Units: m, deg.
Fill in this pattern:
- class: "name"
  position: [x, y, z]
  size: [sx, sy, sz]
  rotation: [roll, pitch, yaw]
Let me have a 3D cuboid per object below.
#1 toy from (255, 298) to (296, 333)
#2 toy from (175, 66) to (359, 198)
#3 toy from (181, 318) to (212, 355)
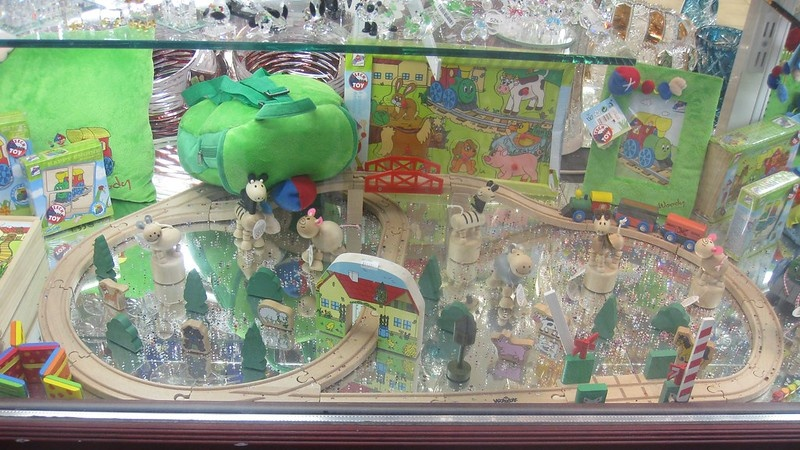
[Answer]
- class: "toy"
  position: [-0.652, 0.471, 2.916]
  size: [0.163, 0.099, 0.045]
  rotation: [11, 27, 19]
- class: "toy"
  position: [-0.799, -0.494, 3.479]
  size: [0.880, 0.552, 0.853]
  rotation: [-16, 32, -31]
- class: "toy"
  position: [-1.010, 0.554, 2.778]
  size: [0.182, 0.186, 0.064]
  rotation: [2, 26, 5]
